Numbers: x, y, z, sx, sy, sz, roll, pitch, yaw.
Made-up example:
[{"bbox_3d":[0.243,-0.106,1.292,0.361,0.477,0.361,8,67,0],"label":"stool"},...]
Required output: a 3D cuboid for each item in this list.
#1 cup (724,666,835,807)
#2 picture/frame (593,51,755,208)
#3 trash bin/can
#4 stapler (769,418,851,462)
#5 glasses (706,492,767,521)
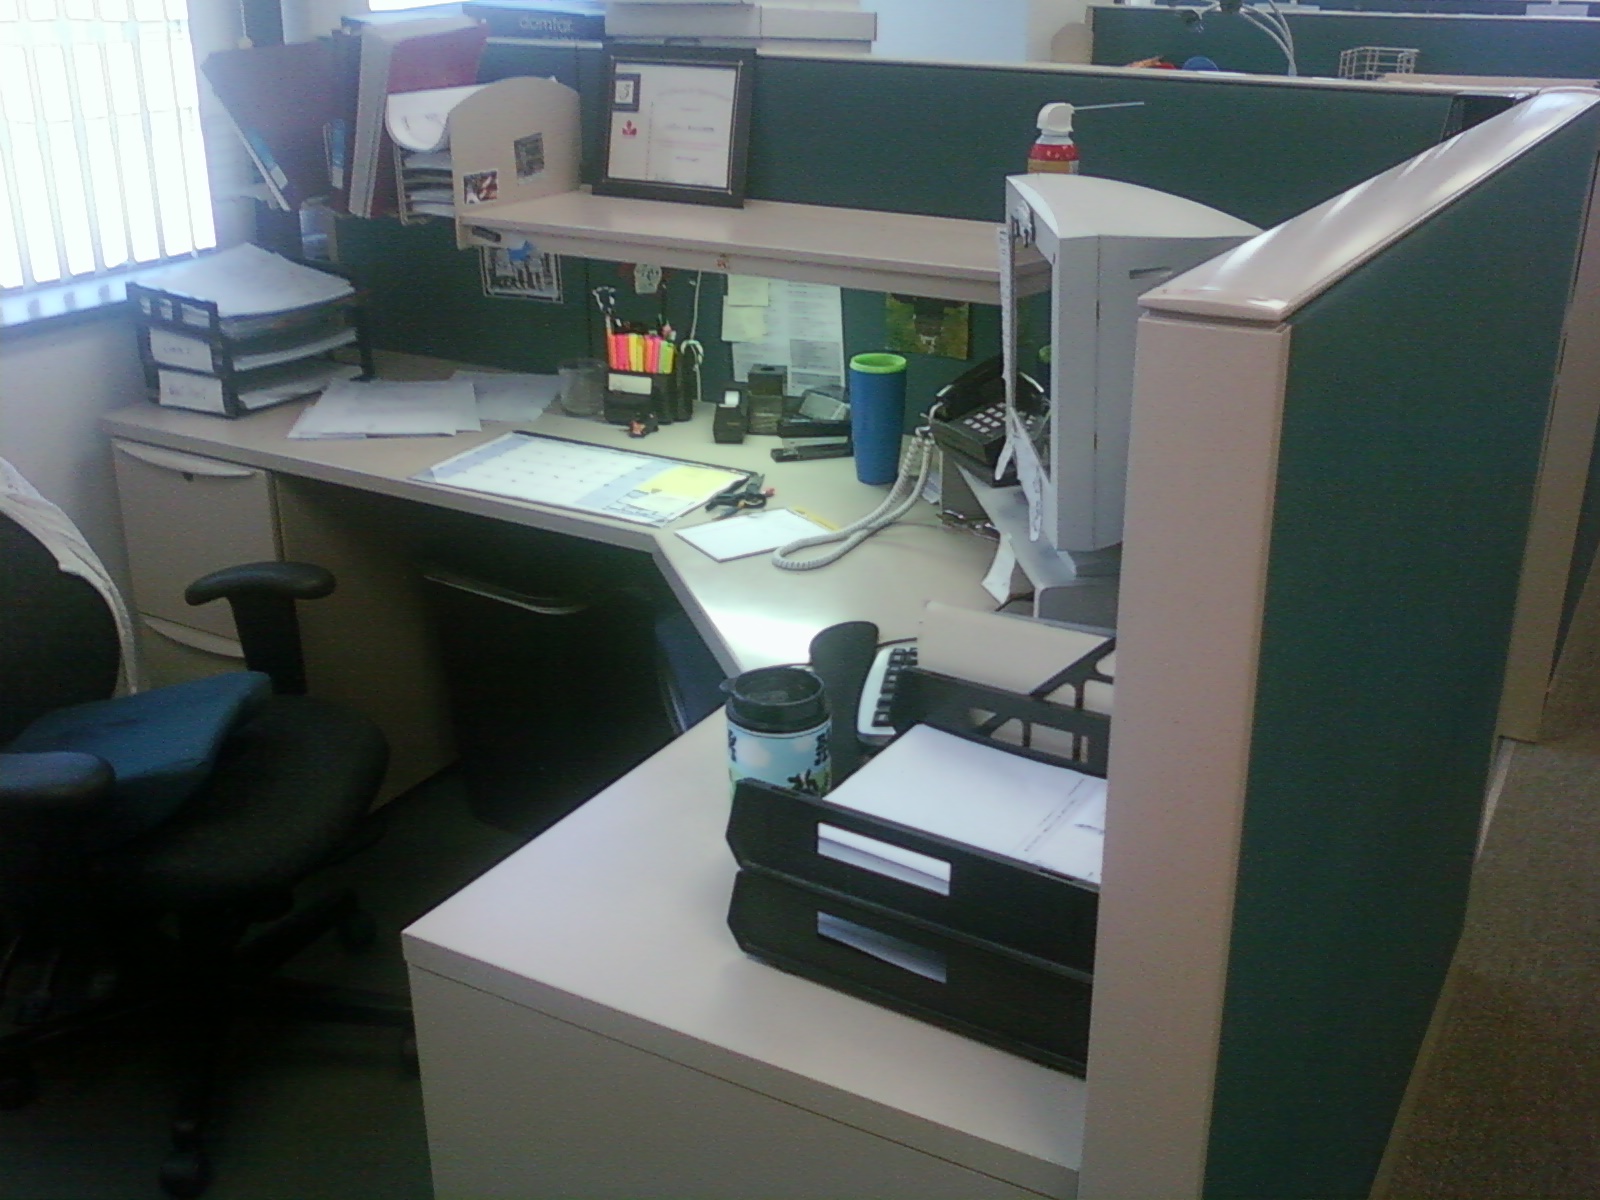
[{"bbox_3d":[-0.030,0.150,1.521,0.134,0.154,0.110,8,23,22],"label":"cup"},{"bbox_3d":[-0.237,-0.916,2.532,0.275,0.276,0.023,8,1,10],"label":"picture/frame"},{"bbox_3d":[-0.575,0.128,2.761,0.312,0.526,0.318,13,34,16],"label":"trash bin/can"},{"bbox_3d":[0.028,-0.337,2.657,0.136,0.068,0.087,-4,24,-4],"label":"stapler"},{"bbox_3d":[-0.112,-0.178,2.398,0.084,0.021,0.049,-18,25,-27],"label":"glasses"}]
